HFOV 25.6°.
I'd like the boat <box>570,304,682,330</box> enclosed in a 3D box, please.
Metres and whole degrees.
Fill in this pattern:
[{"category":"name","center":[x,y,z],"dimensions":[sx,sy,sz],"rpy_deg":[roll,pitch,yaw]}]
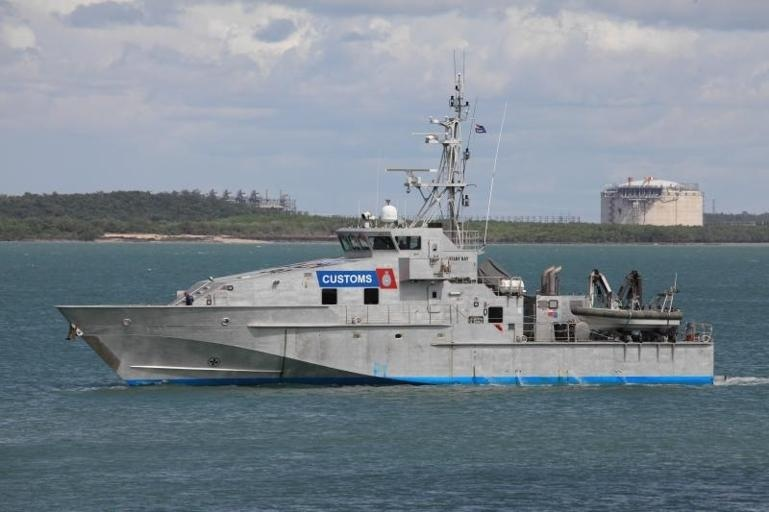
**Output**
[{"category":"boat","center":[18.434,4.731,128.491],"dimensions":[8.017,1.777,2.470],"rpy_deg":[3,-8,-4]}]
